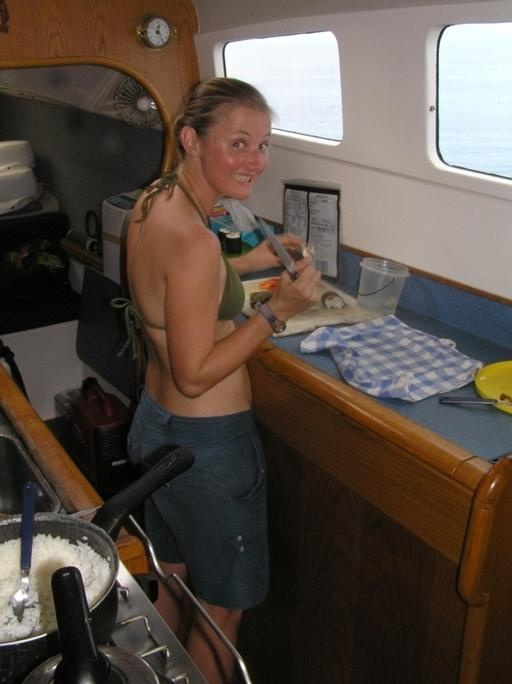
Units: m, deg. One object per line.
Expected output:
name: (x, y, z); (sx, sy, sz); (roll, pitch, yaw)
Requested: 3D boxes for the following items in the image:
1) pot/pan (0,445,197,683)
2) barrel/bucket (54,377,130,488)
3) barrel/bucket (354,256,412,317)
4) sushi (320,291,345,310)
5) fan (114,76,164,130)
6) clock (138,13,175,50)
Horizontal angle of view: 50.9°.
pot/pan: (-0.154, 0.212, 0.526); (0.201, 0.068, 0.111); (-37, 57, -27)
barrel/bucket: (-0.793, 0.450, 2.669); (0.314, 0.550, 0.370); (-15, 46, -30)
barrel/bucket: (0.462, -0.223, 1.971); (0.195, 0.193, 0.194); (5, 18, -2)
sushi: (0.282, -0.154, 1.950); (0.056, 0.032, 0.076); (-17, 45, -8)
fan: (-0.594, -1.219, 2.781); (0.287, 0.282, 0.065); (24, 20, 10)
clock: (-0.439, -1.373, 2.385); (0.130, 0.126, 0.030); (-5, 24, -33)
